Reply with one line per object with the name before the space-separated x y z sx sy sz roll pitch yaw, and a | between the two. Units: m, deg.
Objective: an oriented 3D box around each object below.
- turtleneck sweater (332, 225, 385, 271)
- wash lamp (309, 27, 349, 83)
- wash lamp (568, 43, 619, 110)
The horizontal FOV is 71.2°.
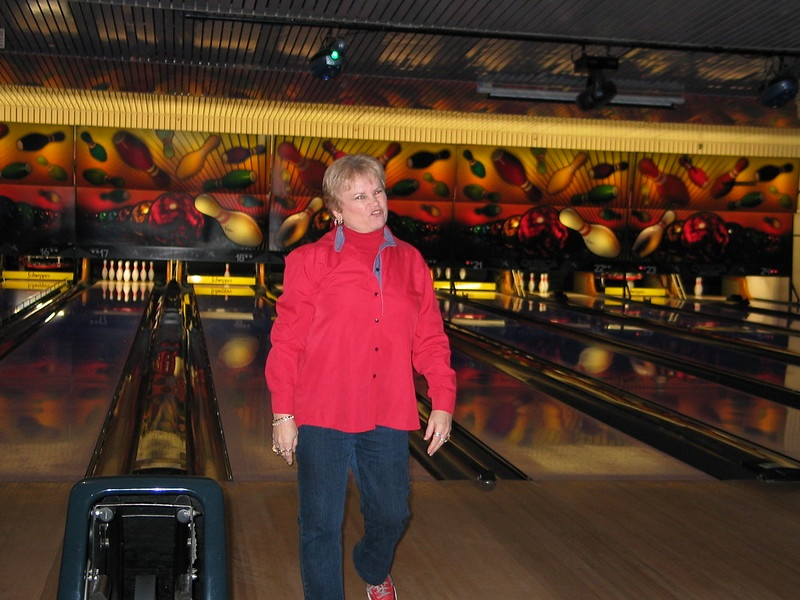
turtleneck sweater | -0.103 -0.127 1.369 0.100 0.083 0.115 0 -4 -28
wash lamp | -0.550 -1.900 4.326 0.298 0.280 0.374 -1 2 -3
wash lamp | 1.618 -1.852 4.636 0.318 0.391 0.646 -1 2 17
